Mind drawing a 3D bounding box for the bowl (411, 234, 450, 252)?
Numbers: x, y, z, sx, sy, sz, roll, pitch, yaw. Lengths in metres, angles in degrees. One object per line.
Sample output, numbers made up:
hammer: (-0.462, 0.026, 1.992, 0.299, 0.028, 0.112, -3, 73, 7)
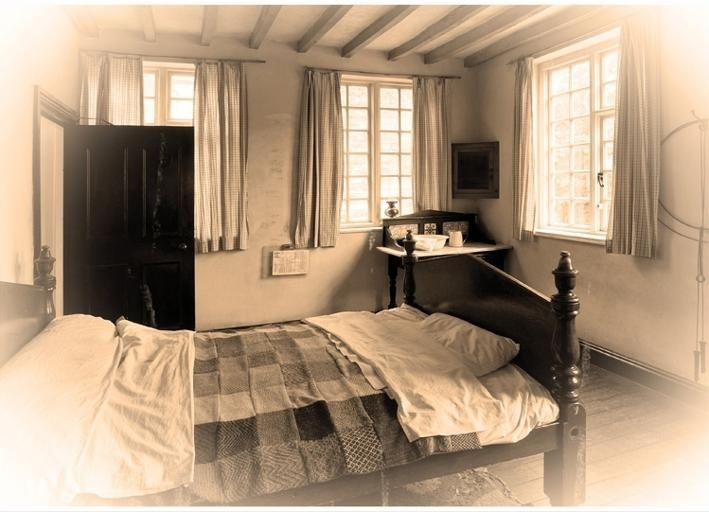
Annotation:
bowl: (0.812, -0.146, 5.150, 0.292, 0.106, 0.242, 1, -1, -16)

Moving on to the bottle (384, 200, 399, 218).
bottle: (0.411, -0.531, 5.599, 0.198, 0.254, 0.199, 1, -1, 0)

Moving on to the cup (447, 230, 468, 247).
cup: (1.156, -0.195, 5.486, 0.175, 0.209, 0.232, 0, -2, 10)
